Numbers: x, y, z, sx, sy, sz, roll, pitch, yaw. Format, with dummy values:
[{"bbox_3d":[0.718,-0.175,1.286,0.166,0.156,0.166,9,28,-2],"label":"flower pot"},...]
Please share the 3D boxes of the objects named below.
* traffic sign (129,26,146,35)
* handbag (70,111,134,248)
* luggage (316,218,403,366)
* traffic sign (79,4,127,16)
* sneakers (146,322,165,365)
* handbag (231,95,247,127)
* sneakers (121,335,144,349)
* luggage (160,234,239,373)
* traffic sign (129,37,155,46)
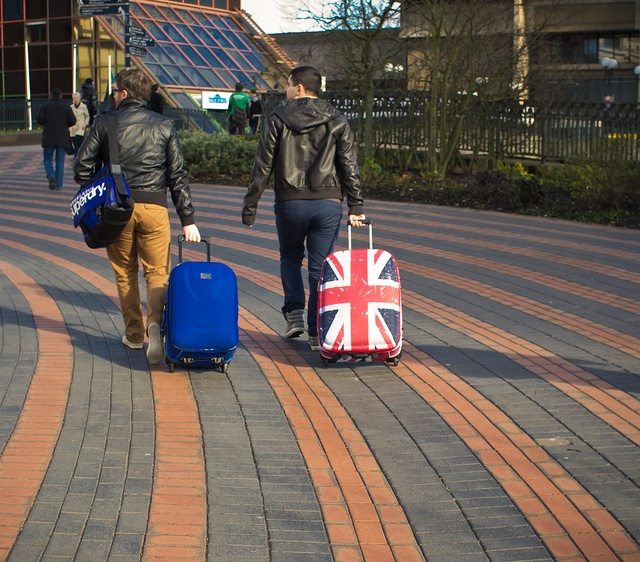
[{"bbox_3d":[-4.127,-5.576,18.822,0.473,0.117,0.454,14,18,-18],"label":"traffic sign"},{"bbox_3d":[-1.499,-0.672,5.799,0.397,0.937,0.516,-5,16,-20],"label":"handbag"},{"bbox_3d":[0.292,0.208,6.085,0.589,0.819,0.516,1,15,1],"label":"luggage"},{"bbox_3d":[-4.458,-5.454,16.925,0.811,0.189,0.642,-1,13,-8],"label":"traffic sign"},{"bbox_3d":[-1.152,0.446,5.915,0.119,0.268,0.119,1,-1,-8],"label":"sneakers"},{"bbox_3d":[-2.486,-5.364,26.392,0.610,0.811,0.347,4,-7,-24],"label":"handbag"},{"bbox_3d":[-1.459,0.467,6.522,0.080,0.075,0.209,-1,10,-32],"label":"sneakers"},{"bbox_3d":[-0.831,0.188,5.803,0.508,0.974,0.518,-2,15,-9],"label":"luggage"},{"bbox_3d":[-3.948,-5.342,18.840,0.403,0.209,0.695,3,13,12],"label":"traffic sign"}]
